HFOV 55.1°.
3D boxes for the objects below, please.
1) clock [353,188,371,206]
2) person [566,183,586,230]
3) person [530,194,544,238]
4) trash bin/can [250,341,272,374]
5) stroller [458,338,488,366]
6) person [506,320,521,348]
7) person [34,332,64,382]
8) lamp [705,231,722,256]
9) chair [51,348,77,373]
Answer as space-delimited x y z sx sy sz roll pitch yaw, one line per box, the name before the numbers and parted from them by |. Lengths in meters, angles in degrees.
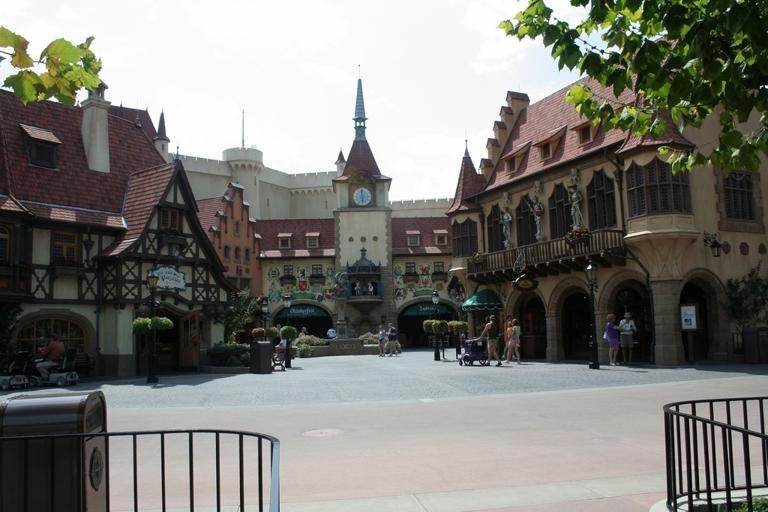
clock | -1.781 -4.666 59.734 1.421 1.421 0.185 -1 -5 0
person | 8.546 -2.188 32.817 0.420 2.029 0.981 0 -8 -16
person | 7.395 -1.764 35.503 0.406 2.270 0.921 -1 -8 -10
trash bin/can | -4.941 4.117 29.563 0.829 1.292 0.821 0 -8 -10
stroller | 3.725 4.008 30.203 1.294 1.257 0.896 4 -9 -20
person | 5.305 3.176 30.092 0.460 1.157 1.579 -3 -8 8
person | -11.672 3.609 25.722 0.929 1.584 0.740 2 -8 -25
lamp | 12.847 -0.416 28.609 0.797 0.924 0.435 4 -10 -38
chair | -11.275 3.765 26.241 0.838 0.984 0.790 2 -5 10
